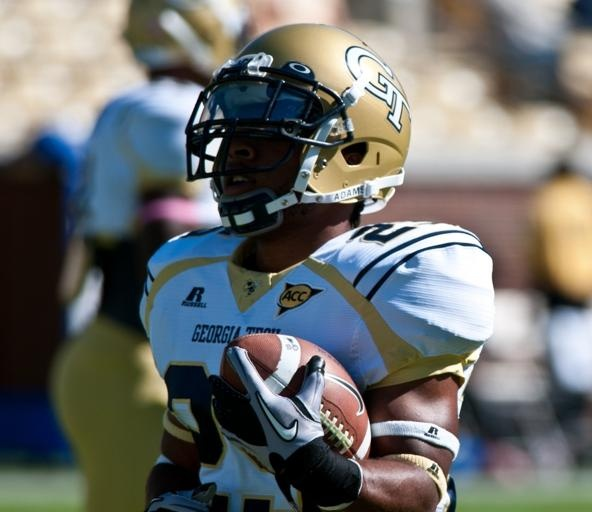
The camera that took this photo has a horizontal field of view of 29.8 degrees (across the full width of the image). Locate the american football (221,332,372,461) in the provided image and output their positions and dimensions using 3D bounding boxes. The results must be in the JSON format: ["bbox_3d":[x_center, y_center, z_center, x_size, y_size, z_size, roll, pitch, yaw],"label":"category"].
[{"bbox_3d":[0.048,0.380,3.461,0.460,0.309,0.282,33,82,6],"label":"american football"}]
